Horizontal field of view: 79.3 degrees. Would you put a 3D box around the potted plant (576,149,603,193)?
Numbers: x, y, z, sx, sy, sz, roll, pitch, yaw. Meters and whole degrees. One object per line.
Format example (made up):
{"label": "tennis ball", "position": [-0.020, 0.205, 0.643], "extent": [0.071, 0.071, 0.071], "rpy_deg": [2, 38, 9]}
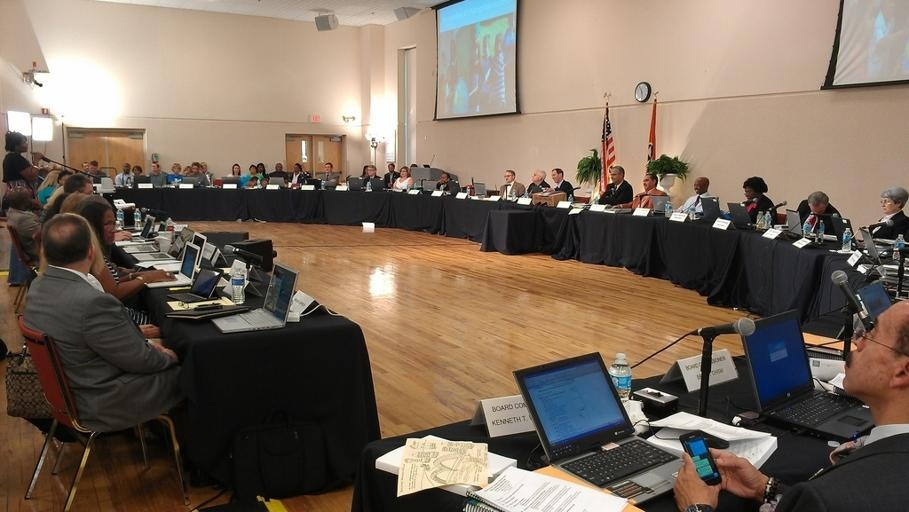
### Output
{"label": "potted plant", "position": [2.703, -1.877, 11.823], "extent": [0.734, 0.928, 0.709], "rpy_deg": [-2, 14, -5]}

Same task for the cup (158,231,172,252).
{"label": "cup", "position": [-3.210, -0.145, 6.062], "extent": [0.213, 0.263, 0.285], "rpy_deg": [1, 1, -26]}

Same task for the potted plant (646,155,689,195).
{"label": "potted plant", "position": [4.055, -1.506, 10.371], "extent": [0.700, 0.685, 0.710], "rpy_deg": [5, 9, 34]}

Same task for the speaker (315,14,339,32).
{"label": "speaker", "position": [-3.716, -6.796, 15.879], "extent": [0.560, 0.512, 0.784], "rpy_deg": [-3, 14, -5]}

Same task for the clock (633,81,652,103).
{"label": "clock", "position": [3.724, -3.220, 10.838], "extent": [0.127, 0.377, 0.359], "rpy_deg": [-13, 18, -38]}

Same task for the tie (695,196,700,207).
{"label": "tie", "position": [4.016, -0.891, 9.042], "extent": [0.065, 0.165, 0.124], "rpy_deg": [-1, 18, 15]}
